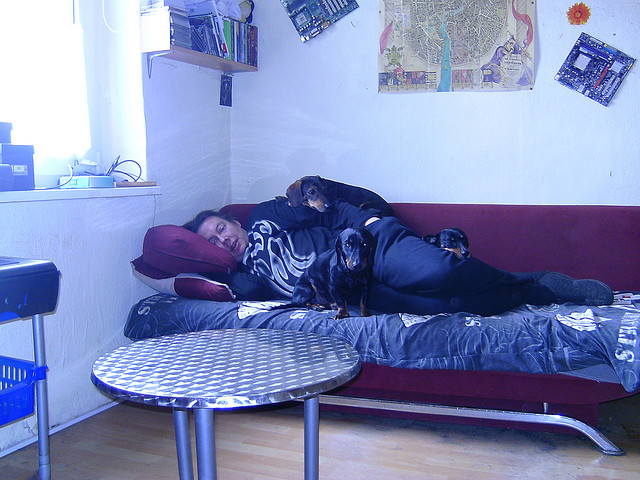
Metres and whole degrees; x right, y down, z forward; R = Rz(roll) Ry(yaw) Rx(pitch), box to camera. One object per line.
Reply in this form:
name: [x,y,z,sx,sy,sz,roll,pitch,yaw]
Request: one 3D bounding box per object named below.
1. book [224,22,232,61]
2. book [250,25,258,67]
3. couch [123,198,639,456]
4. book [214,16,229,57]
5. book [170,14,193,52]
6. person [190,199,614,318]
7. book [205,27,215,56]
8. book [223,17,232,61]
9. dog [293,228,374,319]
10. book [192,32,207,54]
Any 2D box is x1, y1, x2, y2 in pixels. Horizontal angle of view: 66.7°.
book: [-0.584,-1.292,3.132,0.039,0.200,0.052,-2,0,-4]
book: [-0.458,-1.333,3.348,0.018,0.266,0.098,2,11,19]
couch: [0.469,0.365,2.605,2.268,1.012,1.399,4,11,26]
book: [-0.622,-1.292,3.076,0.056,0.217,0.053,-24,10,-36]
book: [-0.802,-1.221,2.831,0.027,0.188,0.216,-21,37,-40]
person: [0.292,0.096,2.659,2.178,0.597,0.813,-3,27,25]
book: [-0.686,-1.241,3.031,0.029,0.198,0.026,-15,0,-22]
book: [-0.591,-1.302,3.132,0.048,0.202,0.152,-4,6,2]
dog: [0.087,0.164,2.516,0.294,0.433,0.596,-5,6,-33]
book: [-0.738,-1.210,2.988,0.080,0.103,0.022,-5,11,-18]
